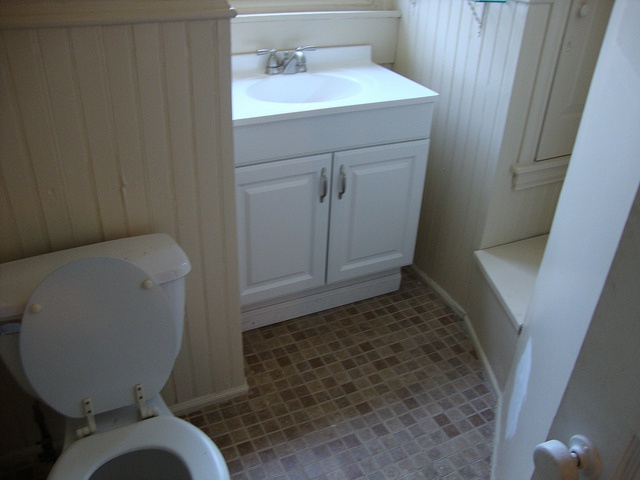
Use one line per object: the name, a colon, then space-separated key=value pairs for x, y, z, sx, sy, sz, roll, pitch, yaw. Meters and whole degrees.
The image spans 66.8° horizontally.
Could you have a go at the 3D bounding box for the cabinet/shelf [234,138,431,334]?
cabinet/shelf: x=-0.026 y=-0.150 z=2.302 sx=0.917 sy=0.948 sz=0.494 roll=-12 pitch=36 yaw=-18

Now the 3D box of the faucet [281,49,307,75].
faucet: x=-0.120 y=-0.805 z=2.212 sx=0.114 sy=0.088 sz=0.083 roll=-8 pitch=39 yaw=-12
